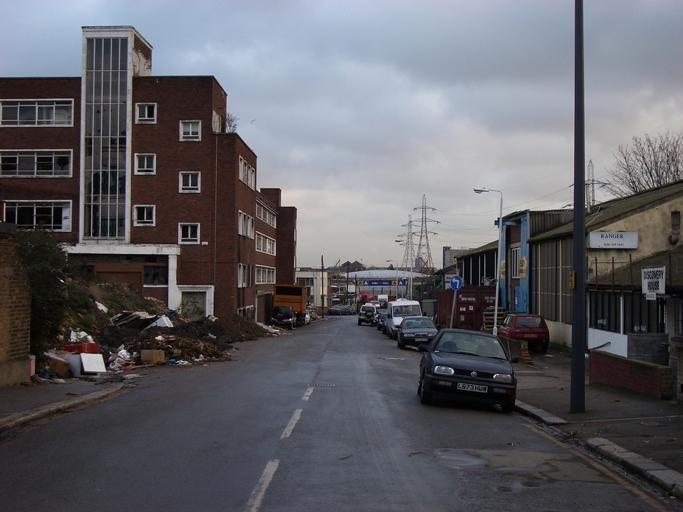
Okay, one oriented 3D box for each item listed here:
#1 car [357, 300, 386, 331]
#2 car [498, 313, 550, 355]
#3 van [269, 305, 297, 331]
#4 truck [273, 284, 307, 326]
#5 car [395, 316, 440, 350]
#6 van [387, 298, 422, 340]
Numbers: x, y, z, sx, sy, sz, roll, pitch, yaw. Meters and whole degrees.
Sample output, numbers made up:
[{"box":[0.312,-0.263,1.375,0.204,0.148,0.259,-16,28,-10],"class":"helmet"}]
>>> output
[{"box":[2.649,6.217,73.073,1.785,2.074,3.991,1,0,6],"class":"car"},{"box":[8.842,3.803,35.026,1.655,1.661,3.086,0,5,-3],"class":"car"},{"box":[-5.031,5.353,60.418,1.574,1.556,2.989,2,-6,2],"class":"van"},{"box":[-4.570,4.105,63.207,1.948,2.636,3.993,1,-1,4],"class":"truck"},{"box":[3.682,3.875,35.248,1.347,1.190,2.539,0,-7,-3],"class":"car"},{"box":[3.879,3.878,45.448,1.402,1.656,2.976,0,-7,-2],"class":"van"}]
